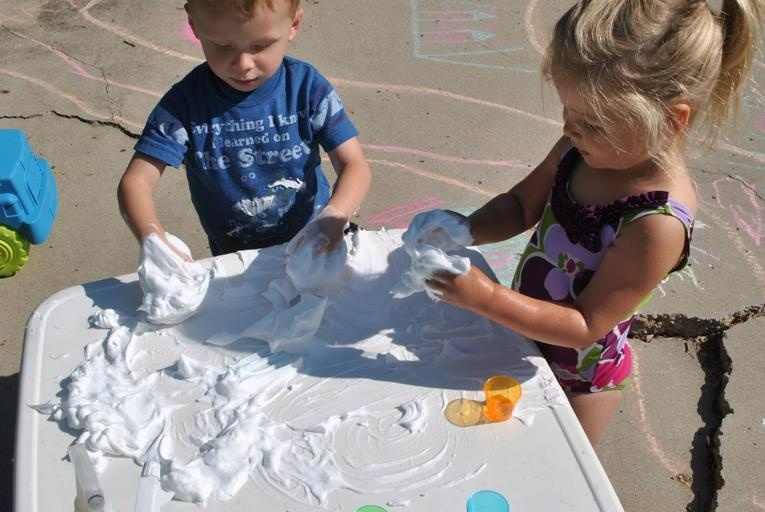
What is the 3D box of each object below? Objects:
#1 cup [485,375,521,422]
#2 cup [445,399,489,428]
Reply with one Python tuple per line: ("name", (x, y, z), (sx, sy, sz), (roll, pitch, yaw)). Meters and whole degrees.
("cup", (0.539, 0.597, 4.269), (0.143, 0.114, 0.126), (-9, -14, 38))
("cup", (0.369, 0.681, 4.199), (0.185, 0.067, 0.115), (12, 38, 2))
